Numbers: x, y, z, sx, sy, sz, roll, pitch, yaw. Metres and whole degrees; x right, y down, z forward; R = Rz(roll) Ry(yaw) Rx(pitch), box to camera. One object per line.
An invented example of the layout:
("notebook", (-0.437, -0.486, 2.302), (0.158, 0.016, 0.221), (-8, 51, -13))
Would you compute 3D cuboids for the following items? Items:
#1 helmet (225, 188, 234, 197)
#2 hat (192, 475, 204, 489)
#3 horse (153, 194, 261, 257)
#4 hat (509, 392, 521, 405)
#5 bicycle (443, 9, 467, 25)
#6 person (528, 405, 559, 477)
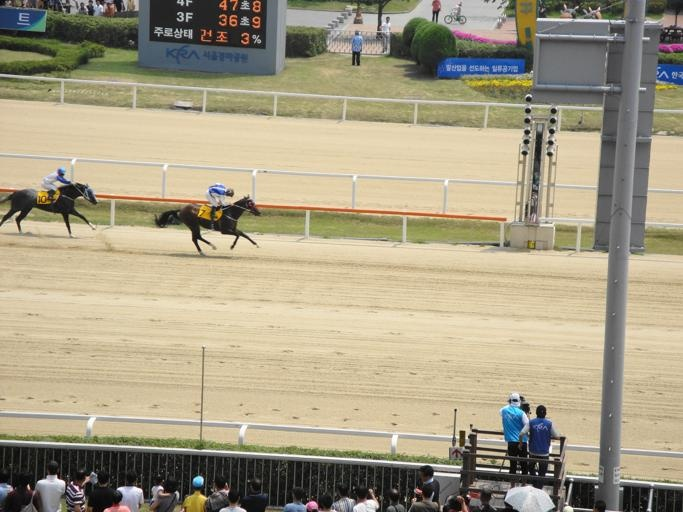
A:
("helmet", (-2.267, -1.448, 48.774), (0.153, 0.175, 0.183), (2, -30, 1))
("hat", (-2.439, 3.911, 40.349), (0.197, 0.238, 0.077), (4, -19, -13))
("horse", (-2.703, -0.662, 48.922), (2.411, 1.195, 0.542), (2, -3, 25))
("hat", (3.173, 2.524, 41.630), (0.184, 0.205, 0.211), (4, 41, 3))
("bicycle", (3.550, -7.465, 70.547), (0.826, 0.433, 0.399), (0, 18, 1))
("person", (3.649, 3.256, 41.186), (0.547, 1.233, 0.493), (0, 6, -12))
